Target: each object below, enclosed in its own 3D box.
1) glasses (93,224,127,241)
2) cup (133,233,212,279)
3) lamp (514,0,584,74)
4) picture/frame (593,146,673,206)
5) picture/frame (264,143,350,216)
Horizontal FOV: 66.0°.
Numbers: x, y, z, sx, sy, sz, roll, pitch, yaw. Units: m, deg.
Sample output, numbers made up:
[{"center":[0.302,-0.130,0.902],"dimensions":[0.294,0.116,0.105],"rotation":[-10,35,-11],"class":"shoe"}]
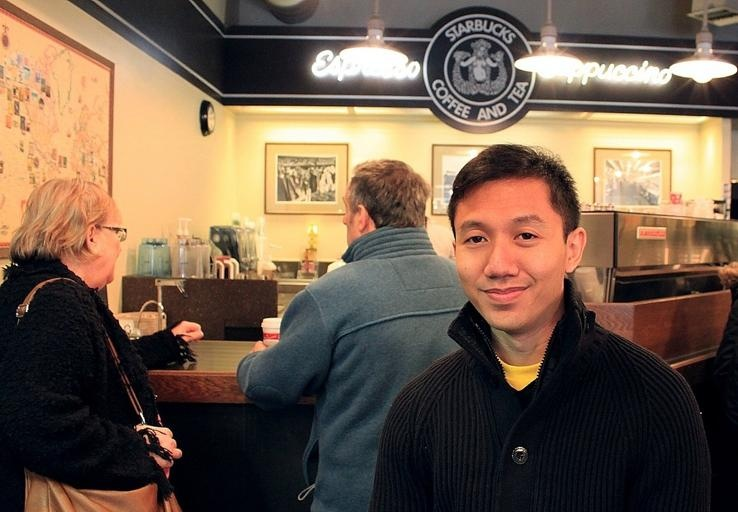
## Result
[{"center":[-1.080,-0.107,2.362],"dimensions":[0.106,0.032,0.108],"rotation":[-2,-3,6],"class":"glasses"},{"center":[-1.398,0.010,4.093],"dimensions":[0.462,0.245,0.277],"rotation":[1,0,15],"class":"cup"},{"center":[1.447,-1.677,4.510],"dimensions":[0.447,0.353,0.354],"rotation":[-2,3,-36],"class":"lamp"},{"center":[2.858,-0.887,6.259],"dimensions":[0.874,0.633,0.035],"rotation":[0,0,0],"class":"picture/frame"},{"center":[-0.635,-0.861,6.137],"dimensions":[1.043,0.847,0.049],"rotation":[0,-2,-1],"class":"picture/frame"}]
